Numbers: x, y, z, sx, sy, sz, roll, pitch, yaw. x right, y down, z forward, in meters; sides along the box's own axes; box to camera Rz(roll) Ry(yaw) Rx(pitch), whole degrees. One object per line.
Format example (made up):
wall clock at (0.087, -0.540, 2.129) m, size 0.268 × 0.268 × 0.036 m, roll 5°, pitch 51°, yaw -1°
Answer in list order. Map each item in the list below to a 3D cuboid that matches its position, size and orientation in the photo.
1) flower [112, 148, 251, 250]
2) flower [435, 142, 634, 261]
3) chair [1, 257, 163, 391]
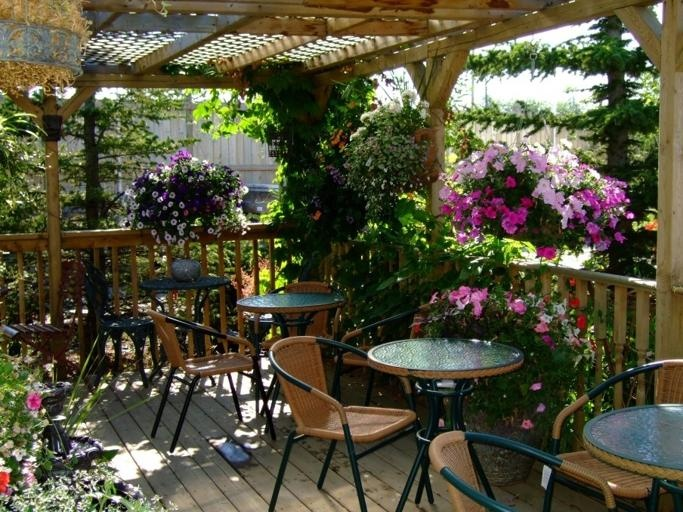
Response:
flower at (-1.443, -0.499, 5.711) m, size 0.898 × 0.675 × 0.895 m, roll -1°, pitch 9°, yaw -19°
flower at (1.185, -0.223, 3.622) m, size 0.797 × 0.433 × 0.792 m, roll -4°, pitch 17°, yaw -23°
chair at (-1.977, 0.574, 5.019) m, size 0.935 × 0.991 × 1.346 m, roll -1°, pitch 10°, yaw -5°
